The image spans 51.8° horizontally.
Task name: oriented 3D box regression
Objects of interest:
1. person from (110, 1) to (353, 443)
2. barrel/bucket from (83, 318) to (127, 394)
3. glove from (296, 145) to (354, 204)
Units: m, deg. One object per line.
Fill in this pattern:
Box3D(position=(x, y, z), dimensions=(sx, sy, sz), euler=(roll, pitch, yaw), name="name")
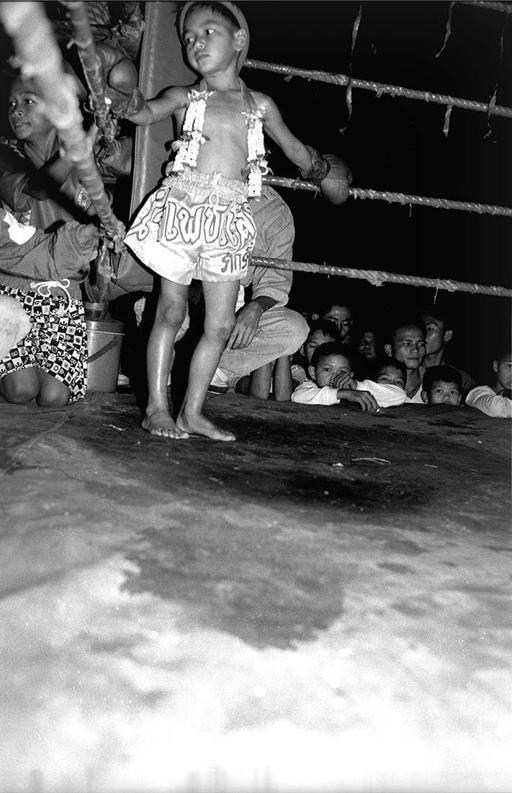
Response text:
Box3D(position=(-0.056, -0.570, 1.791), dimensions=(0.443, 1.350, 0.777), euler=(13, 11, 40), name="person")
Box3D(position=(-0.810, -0.196, 2.713), dimensions=(0.261, 0.324, 0.218), euler=(7, 3, 22), name="barrel/bucket")
Box3D(position=(0.311, -0.991, 2.244), dimensions=(0.141, 0.211, 0.308), euler=(-10, -15, 23), name="glove")
